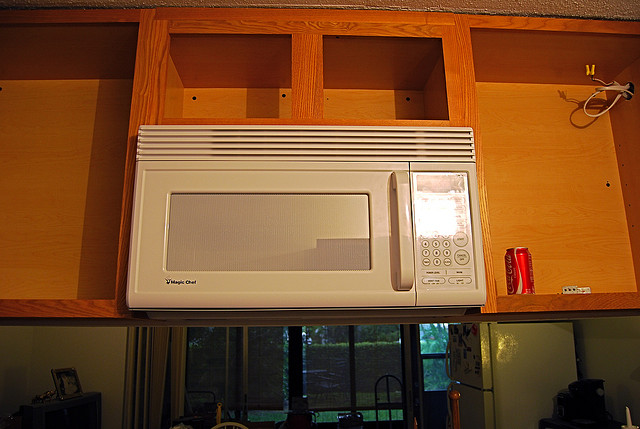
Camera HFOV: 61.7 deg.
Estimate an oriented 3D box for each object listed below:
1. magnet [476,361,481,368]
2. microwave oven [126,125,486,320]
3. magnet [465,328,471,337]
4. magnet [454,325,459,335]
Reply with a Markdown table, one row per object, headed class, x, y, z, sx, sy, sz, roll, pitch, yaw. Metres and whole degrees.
| class | x | y | z | sx | sy | sz | roll | pitch | yaw |
| --- | --- | --- | --- | --- | --- | --- | --- | --- | --- |
| magnet | 0.990 | 0.947 | 3.358 | 0.009 | 0.029 | 0.035 | 6 | -8 | -23 |
| microwave oven | -0.049 | 0.018 | 2.106 | 1.326 | 0.612 | 0.386 | 1 | -1 | -8 |
| magnet | 0.939 | 0.756 | 3.405 | 0.043 | 0.035 | 0.010 | -9 | -12 | 39 |
| magnet | 0.855 | 0.734 | 3.370 | 0.014 | 0.046 | 0.057 | 6 | -4 | 34 |
